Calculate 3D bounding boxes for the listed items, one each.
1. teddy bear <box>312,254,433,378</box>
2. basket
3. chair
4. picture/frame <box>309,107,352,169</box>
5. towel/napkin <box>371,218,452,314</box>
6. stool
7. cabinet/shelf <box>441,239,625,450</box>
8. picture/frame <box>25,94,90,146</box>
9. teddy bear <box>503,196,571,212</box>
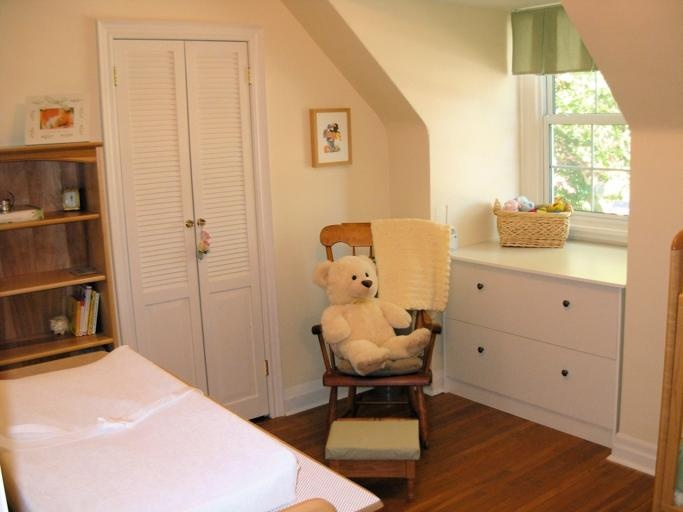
[{"bbox_3d":[0.170,0.347,3.248,0.619,0.610,0.679,-6,12,-17],"label":"teddy bear"},{"bbox_3d":[1.286,-0.198,3.607,0.447,0.235,0.297,1,6,13],"label":"basket"},{"bbox_3d":[0.250,0.443,3.304,0.990,1.194,0.736,-7,12,-17],"label":"chair"},{"bbox_3d":[-0.084,-0.791,3.581,0.436,0.446,0.065,-7,13,-36],"label":"picture/frame"},{"bbox_3d":[0.436,0.070,3.396,0.664,0.658,0.089,3,9,17],"label":"towel/napkin"},{"bbox_3d":[0.155,1.082,2.815,0.466,0.245,0.322,0,-3,1],"label":"stool"},{"bbox_3d":[1.486,0.517,3.585,1.054,1.012,1.298,-9,13,-28],"label":"cabinet/shelf"},{"bbox_3d":[-1.440,-0.679,2.716,0.335,0.270,0.021,-2,-6,-29],"label":"picture/frame"},{"bbox_3d":[1.347,-0.339,3.720,0.327,0.094,0.190,1,3,21],"label":"teddy bear"}]
